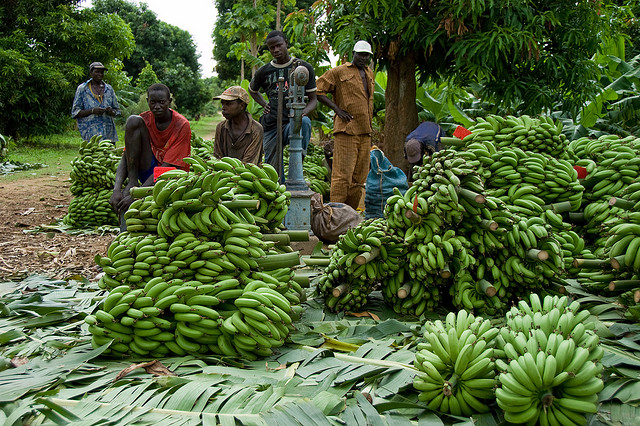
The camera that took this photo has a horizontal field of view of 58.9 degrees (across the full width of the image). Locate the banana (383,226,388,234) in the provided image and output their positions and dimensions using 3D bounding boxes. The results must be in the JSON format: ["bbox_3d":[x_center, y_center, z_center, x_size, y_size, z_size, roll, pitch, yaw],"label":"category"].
[{"bbox_3d":[0.647,0.162,5.605,0.038,0.046,0.015,-7,-8,36],"label":"banana"}]

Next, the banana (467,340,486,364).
[{"bbox_3d":[1.223,1.043,4.403,0.060,0.092,0.258,34,48,15],"label":"banana"}]

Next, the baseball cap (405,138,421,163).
[{"bbox_3d":[1.234,-0.817,7.597,0.196,0.297,0.155,-3,-7,15],"label":"baseball cap"}]

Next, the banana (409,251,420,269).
[{"bbox_3d":[0.897,0.437,5.413,0.076,0.195,0.048,9,8,-9],"label":"banana"}]

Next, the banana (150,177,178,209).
[{"bbox_3d":[-1.410,-0.183,5.109,0.101,0.148,0.305,-18,-18,-40],"label":"banana"}]

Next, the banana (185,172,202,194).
[{"bbox_3d":[-1.132,-0.280,5.077,0.062,0.262,0.095,38,-13,-11],"label":"banana"}]

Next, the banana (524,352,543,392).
[{"bbox_3d":[1.567,1.158,4.217,0.080,0.305,0.103,-28,-13,31],"label":"banana"}]

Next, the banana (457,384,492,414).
[{"bbox_3d":[1.172,1.413,4.338,0.054,0.264,0.089,-38,17,33],"label":"banana"}]

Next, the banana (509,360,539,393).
[{"bbox_3d":[1.512,1.207,4.179,0.052,0.248,0.088,-42,-9,16],"label":"banana"}]

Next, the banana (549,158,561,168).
[{"bbox_3d":[2.321,-0.496,5.625,0.087,0.072,0.028,4,2,-8],"label":"banana"}]

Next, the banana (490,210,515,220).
[{"bbox_3d":[1.702,0.014,5.307,0.224,0.081,0.060,12,38,9],"label":"banana"}]

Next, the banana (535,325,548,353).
[{"bbox_3d":[1.662,0.962,4.306,0.055,0.180,0.064,-18,-7,-4],"label":"banana"}]

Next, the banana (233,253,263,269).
[{"bbox_3d":[-0.637,0.445,5.137,0.333,0.067,0.056,35,-47,-28],"label":"banana"}]

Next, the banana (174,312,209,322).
[{"bbox_3d":[-1.118,0.884,4.915,0.283,0.075,0.080,2,21,3],"label":"banana"}]

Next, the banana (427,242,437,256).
[{"bbox_3d":[1.044,0.329,5.283,0.029,0.058,0.103,3,39,-47],"label":"banana"}]

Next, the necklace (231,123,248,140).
[{"bbox_3d":[-1.148,-1.095,7.796,0.220,0.198,0.048,6,3,29],"label":"necklace"}]

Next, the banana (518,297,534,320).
[{"bbox_3d":[1.666,0.765,4.601,0.048,0.057,0.158,-20,28,-14],"label":"banana"}]

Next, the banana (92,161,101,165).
[{"bbox_3d":[-3.650,-0.806,9.227,0.126,0.054,0.065,4,2,-26],"label":"banana"}]

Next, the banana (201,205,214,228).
[{"bbox_3d":[-1.025,0.039,5.090,0.140,0.264,0.079,-2,-28,-16],"label":"banana"}]

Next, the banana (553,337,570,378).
[{"bbox_3d":[1.793,1.052,4.203,0.072,0.336,0.119,18,-12,-13],"label":"banana"}]

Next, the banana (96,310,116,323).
[{"bbox_3d":[-1.847,0.882,4.842,0.199,0.065,0.066,26,-6,15],"label":"banana"}]

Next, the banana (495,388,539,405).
[{"bbox_3d":[1.457,1.364,4.192,0.312,0.097,0.072,4,2,0],"label":"banana"}]

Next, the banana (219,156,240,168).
[{"bbox_3d":[-0.869,-0.481,5.468,0.169,0.096,0.167,4,2,-11],"label":"banana"}]

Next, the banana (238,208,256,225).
[{"bbox_3d":[-0.690,0.033,5.312,0.149,0.146,0.069,4,2,-8],"label":"banana"}]

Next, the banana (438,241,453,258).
[{"bbox_3d":[1.165,0.334,5.284,0.087,0.179,0.316,3,-12,7],"label":"banana"}]

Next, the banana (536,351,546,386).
[{"bbox_3d":[1.632,1.144,4.180,0.064,0.227,0.075,10,-14,-7],"label":"banana"}]

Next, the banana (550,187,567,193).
[{"bbox_3d":[2.359,-0.224,5.599,0.195,0.052,0.061,1,-24,-20],"label":"banana"}]

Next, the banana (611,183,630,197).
[{"bbox_3d":[2.959,-0.218,5.563,0.188,0.039,0.062,-41,25,-26],"label":"banana"}]

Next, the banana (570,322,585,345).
[{"bbox_3d":[1.984,0.913,4.354,0.058,0.070,0.205,33,41,15],"label":"banana"}]

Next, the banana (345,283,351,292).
[{"bbox_3d":[0.267,0.739,5.605,0.045,0.081,0.040,-10,-28,-9],"label":"banana"}]

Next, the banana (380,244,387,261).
[{"bbox_3d":[0.614,0.384,5.509,0.069,0.107,0.039,2,3,-42],"label":"banana"}]

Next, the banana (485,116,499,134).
[{"bbox_3d":[1.774,-0.893,5.832,0.131,0.150,0.078,5,2,18],"label":"banana"}]

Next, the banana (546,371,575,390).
[{"bbox_3d":[1.775,1.235,4.187,0.186,0.127,0.070,5,2,20],"label":"banana"}]

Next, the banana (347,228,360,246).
[{"bbox_3d":[0.321,0.243,5.521,0.033,0.162,0.056,-37,4,11],"label":"banana"}]

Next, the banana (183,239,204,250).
[{"bbox_3d":[-1.132,0.288,5.002,0.197,0.054,0.066,-23,-11,-21],"label":"banana"}]

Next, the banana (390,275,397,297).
[{"bbox_3d":[0.715,0.716,5.549,0.069,0.204,0.049,-6,-17,12],"label":"banana"}]

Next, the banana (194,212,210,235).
[{"bbox_3d":[-1.074,0.098,5.061,0.260,0.071,0.094,49,21,25],"label":"banana"}]

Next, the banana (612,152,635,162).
[{"bbox_3d":[3.055,-0.553,5.707,0.249,0.087,0.062,-12,9,-23],"label":"banana"}]

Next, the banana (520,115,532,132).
[{"bbox_3d":[2.106,-0.905,5.790,0.110,0.140,0.141,5,2,18],"label":"banana"}]

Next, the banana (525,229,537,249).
[{"bbox_3d":[1.948,0.239,5.232,0.117,0.146,0.071,5,2,15],"label":"banana"}]

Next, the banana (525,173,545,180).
[{"bbox_3d":[2.133,-0.355,5.620,0.224,0.080,0.054,7,13,0],"label":"banana"}]

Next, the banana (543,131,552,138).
[{"bbox_3d":[2.284,-0.782,5.703,0.032,0.048,0.071,40,2,-12],"label":"banana"}]
